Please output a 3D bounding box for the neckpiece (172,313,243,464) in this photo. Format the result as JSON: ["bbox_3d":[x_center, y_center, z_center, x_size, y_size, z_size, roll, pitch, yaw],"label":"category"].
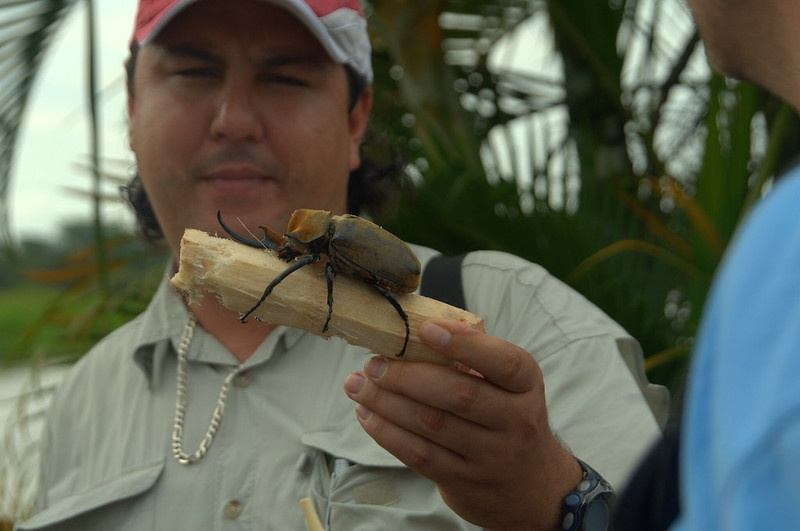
[{"bbox_3d":[-1.061,0.652,4.667,0.238,0.756,0.110,8,-26,-9],"label":"neckpiece"}]
